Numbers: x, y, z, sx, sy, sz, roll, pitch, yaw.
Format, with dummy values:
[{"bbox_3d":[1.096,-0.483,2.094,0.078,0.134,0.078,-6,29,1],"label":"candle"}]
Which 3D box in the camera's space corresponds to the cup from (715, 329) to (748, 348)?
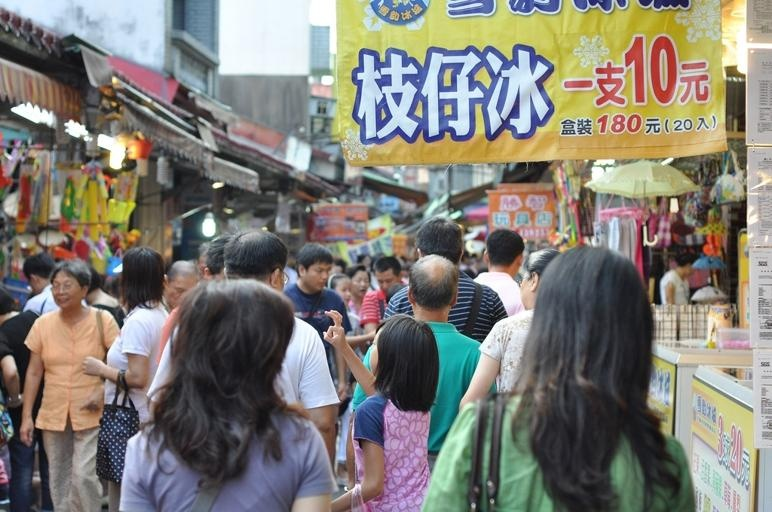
[{"bbox_3d":[2.525,0.612,6.659,0.220,0.141,0.184,1,-3,22],"label":"cup"}]
